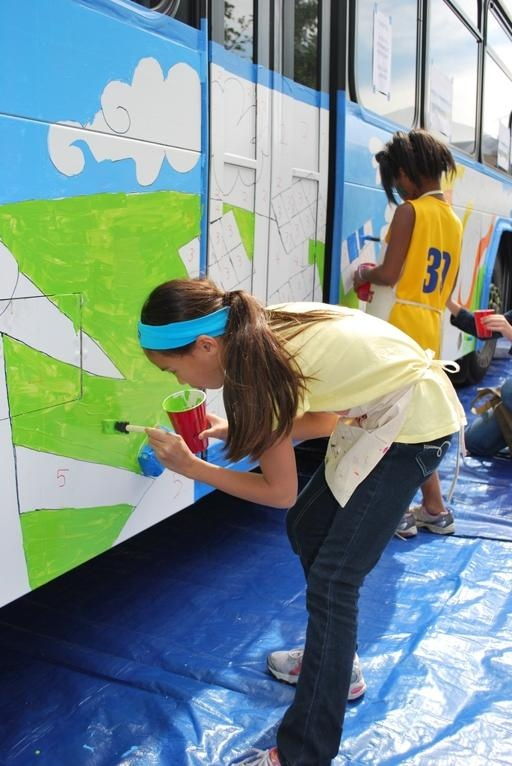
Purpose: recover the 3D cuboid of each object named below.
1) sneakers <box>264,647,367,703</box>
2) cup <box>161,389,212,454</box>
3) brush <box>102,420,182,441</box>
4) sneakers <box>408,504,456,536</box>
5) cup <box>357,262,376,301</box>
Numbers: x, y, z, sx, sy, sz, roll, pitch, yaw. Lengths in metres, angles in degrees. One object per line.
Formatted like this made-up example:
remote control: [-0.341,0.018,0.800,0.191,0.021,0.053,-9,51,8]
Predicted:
sneakers: [0.180,0.861,1.857,0.331,0.154,0.117,2,23,18]
cup: [-0.173,0.116,1.785,0.161,0.184,0.161,3,-2,0]
brush: [-0.316,0.143,1.752,0.267,0.069,0.070,4,-8,-18]
sneakers: [0.903,0.697,3.043,0.260,0.119,0.105,13,9,39]
cup: [0.569,-0.530,3.078,0.061,0.169,0.127,9,6,3]
